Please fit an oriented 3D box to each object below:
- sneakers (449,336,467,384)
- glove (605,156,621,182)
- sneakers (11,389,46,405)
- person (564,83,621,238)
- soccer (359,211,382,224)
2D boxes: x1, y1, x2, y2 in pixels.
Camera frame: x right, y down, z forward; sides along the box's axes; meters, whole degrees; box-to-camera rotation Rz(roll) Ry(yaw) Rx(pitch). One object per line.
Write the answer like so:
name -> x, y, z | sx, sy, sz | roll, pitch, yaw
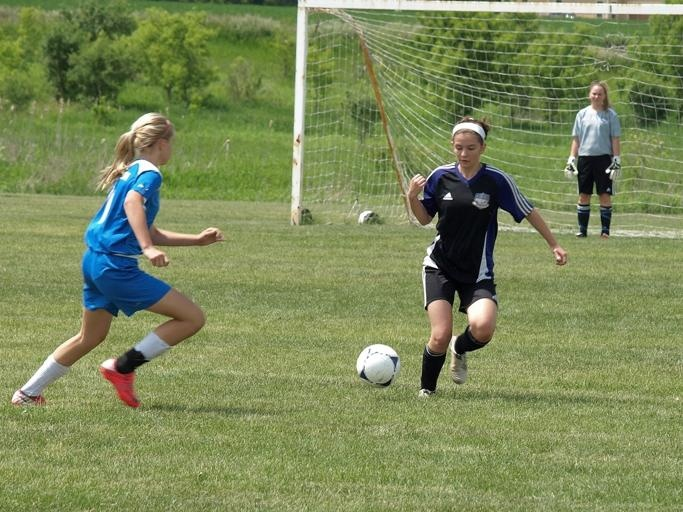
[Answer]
sneakers -> 1.537, 1.396, 19.497 | 0.232, 0.628, 0.272 | -6, 12, -7
glove -> 4.746, -1.532, 25.347 | 0.271, 0.374, 0.144 | 3, 27, -13
sneakers -> -4.062, 1.826, 18.766 | 0.482, 0.199, 0.162 | 1, 4, -7
person -> 4.450, -1.688, 25.679 | 0.898, 2.791, 0.889 | 4, 8, 8
soccer -> 0.529, -0.740, 27.751 | 0.284, 0.277, 0.108 | 16, 19, 16
